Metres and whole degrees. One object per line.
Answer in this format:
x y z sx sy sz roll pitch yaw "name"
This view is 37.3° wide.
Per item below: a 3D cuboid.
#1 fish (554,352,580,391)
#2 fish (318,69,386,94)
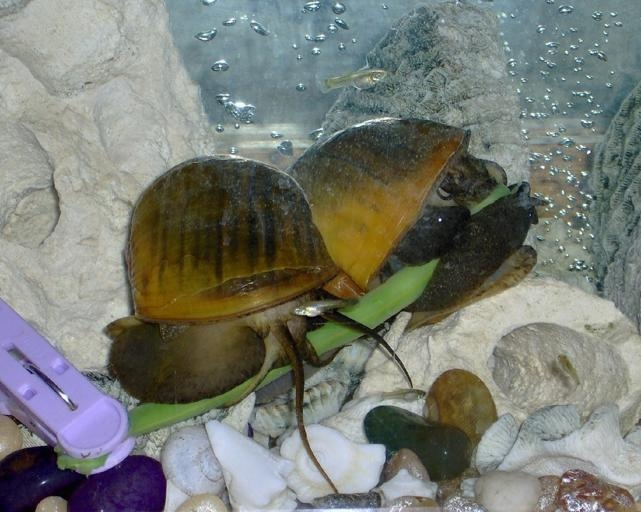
0.631 0.297 2.410 0.029 0.051 0.085 -12 35 -21 "fish"
0.101 -0.558 2.980 0.149 0.064 0.043 -11 27 10 "fish"
